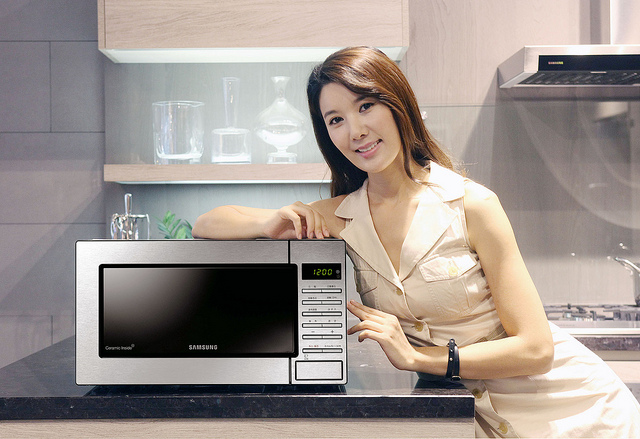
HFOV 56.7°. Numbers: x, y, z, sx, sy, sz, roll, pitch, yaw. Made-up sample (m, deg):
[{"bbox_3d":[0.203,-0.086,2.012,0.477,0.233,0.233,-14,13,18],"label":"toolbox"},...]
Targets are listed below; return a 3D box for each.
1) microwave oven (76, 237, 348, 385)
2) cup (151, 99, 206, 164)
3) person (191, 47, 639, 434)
[{"bbox_3d":[-0.336,0.255,1.907,0.788,0.415,0.422,2,5,-5],"label":"microwave oven"},{"bbox_3d":[-0.601,-0.374,2.581,0.225,0.266,0.271,0,-4,-14],"label":"cup"},{"bbox_3d":[0.332,0.072,1.902,1.209,1.292,0.558,-2,6,25],"label":"person"}]
